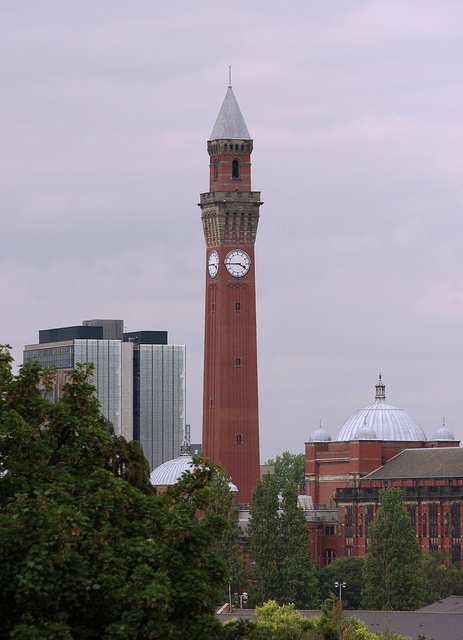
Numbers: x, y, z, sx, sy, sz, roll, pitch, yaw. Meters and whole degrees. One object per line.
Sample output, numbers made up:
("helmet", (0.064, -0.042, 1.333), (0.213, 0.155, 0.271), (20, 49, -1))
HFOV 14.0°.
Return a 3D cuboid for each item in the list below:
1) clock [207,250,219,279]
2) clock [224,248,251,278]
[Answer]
("clock", (-1.590, -5.018, 161.652), (0.238, 2.488, 2.243), (0, 4, -15))
("clock", (0.484, -5.099, 160.747), (2.138, 2.452, 0.383), (2, -9, -21))
